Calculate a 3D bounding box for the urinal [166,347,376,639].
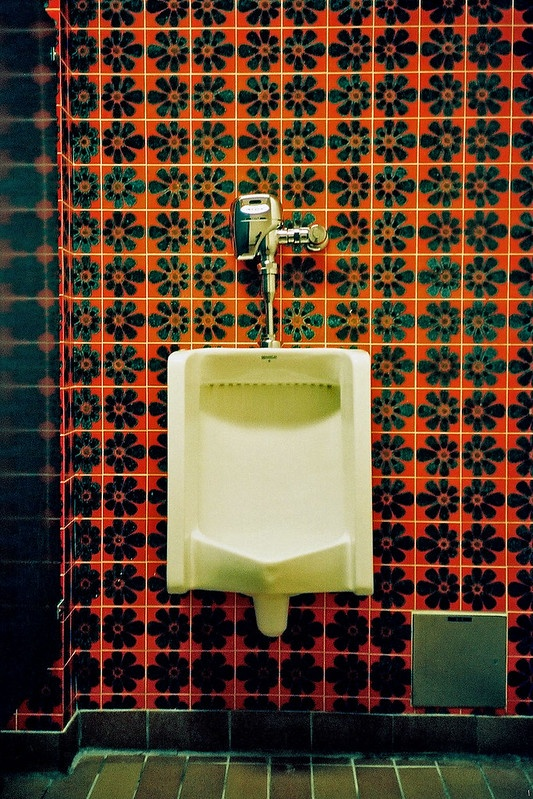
[{"bbox_3d":[0.008,0.193,1.977,0.394,0.592,0.303,0,-6,1],"label":"urinal"}]
